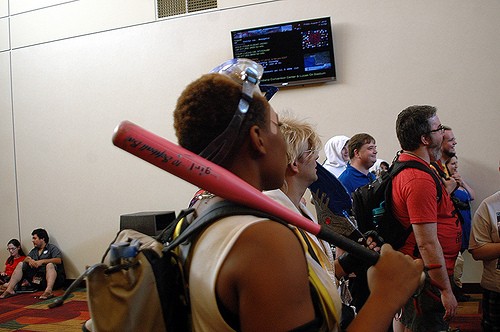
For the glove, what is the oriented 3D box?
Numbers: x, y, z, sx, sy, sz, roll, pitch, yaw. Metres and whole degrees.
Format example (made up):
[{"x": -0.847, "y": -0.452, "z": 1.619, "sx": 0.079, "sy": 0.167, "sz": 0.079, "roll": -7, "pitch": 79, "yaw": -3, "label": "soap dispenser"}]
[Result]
[{"x": 0.836, "y": 0.657, "z": 3.059, "sx": 0.380, "sy": 0.141, "sz": 0.380, "roll": -39, "pitch": 10, "yaw": -11, "label": "glove"}]

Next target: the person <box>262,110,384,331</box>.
[{"x": 0.419, "y": 0.385, "z": 3.196, "sx": 0.977, "sy": 1.397, "sz": 0.647, "roll": -32, "pitch": 13, "yaw": -29, "label": "person"}]

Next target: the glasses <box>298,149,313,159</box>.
[{"x": 0.452, "y": -0.093, "z": 3.256, "sx": 0.090, "sy": 0.022, "sz": 0.072, "roll": -36, "pitch": -21, "yaw": 12, "label": "glasses"}]

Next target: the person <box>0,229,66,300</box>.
[{"x": -3.487, "y": 1.700, "z": 7.201, "sx": 0.921, "sy": 1.290, "sz": 1.113, "roll": -10, "pitch": -14, "yaw": 22, "label": "person"}]

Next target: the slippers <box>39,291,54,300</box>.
[{"x": -3.264, "y": 2.087, "z": 6.493, "sx": 0.094, "sy": 0.080, "sz": 0.245, "roll": -2, "pitch": -12, "yaw": 5, "label": "slippers"}]
